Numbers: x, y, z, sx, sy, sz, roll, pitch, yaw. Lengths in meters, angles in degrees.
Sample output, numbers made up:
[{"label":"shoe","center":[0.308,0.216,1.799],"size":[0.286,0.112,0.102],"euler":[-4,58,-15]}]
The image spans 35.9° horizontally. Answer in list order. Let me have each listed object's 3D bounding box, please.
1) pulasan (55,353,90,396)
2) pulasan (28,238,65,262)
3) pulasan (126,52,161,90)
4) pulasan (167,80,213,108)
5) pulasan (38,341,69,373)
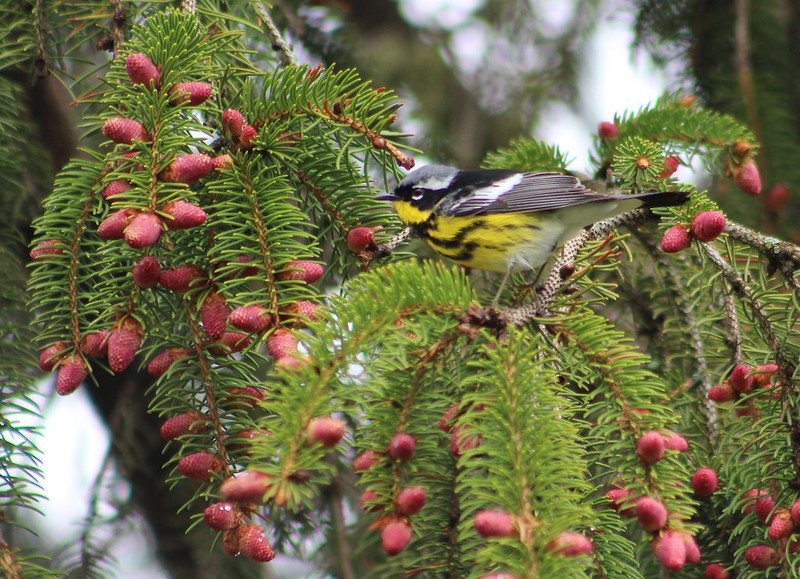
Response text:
[{"label":"pulasan","center":[-1.553,0.409,5.831],"size":[0.139,0.191,0.103],"euler":[5,6,-11]},{"label":"pulasan","center":[-1.726,-0.188,6.036],"size":[0.159,0.080,0.051],"euler":[-16,34,-20]},{"label":"pulasan","center":[-1.235,-1.046,5.918],"size":[0.156,0.161,0.096],"euler":[7,6,10]},{"label":"pulasan","center":[-1.015,-0.942,5.949],"size":[0.195,0.095,0.093],"euler":[-6,-15,3]},{"label":"pulasan","center":[-1.665,0.334,5.910],"size":[0.104,0.173,0.078],"euler":[53,5,10]}]
